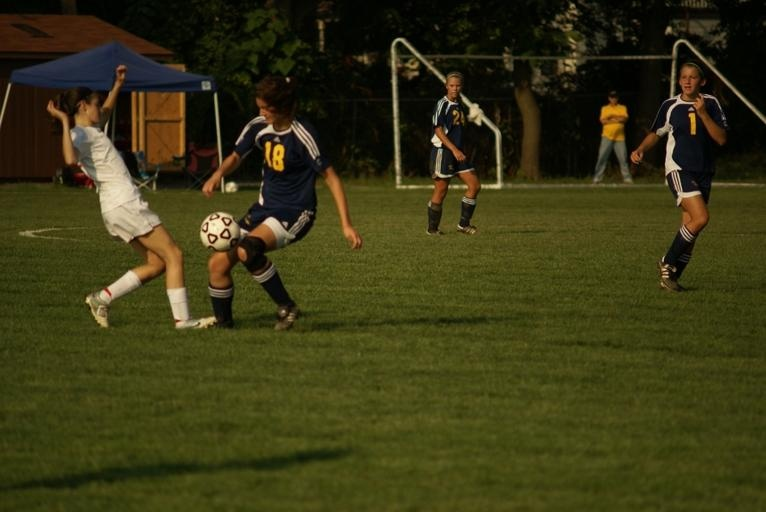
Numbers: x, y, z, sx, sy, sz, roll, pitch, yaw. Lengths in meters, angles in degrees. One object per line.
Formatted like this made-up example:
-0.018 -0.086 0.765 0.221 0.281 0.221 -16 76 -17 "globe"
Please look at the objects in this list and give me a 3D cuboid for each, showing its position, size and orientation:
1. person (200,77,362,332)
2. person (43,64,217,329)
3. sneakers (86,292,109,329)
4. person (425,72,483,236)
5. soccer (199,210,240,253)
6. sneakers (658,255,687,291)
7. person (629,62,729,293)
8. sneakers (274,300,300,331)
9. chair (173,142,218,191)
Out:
-0.957 -0.474 10.297 1.265 2.282 0.509 3 8 4 "person"
-2.386 -0.533 10.280 1.144 2.349 1.207 -4 11 -41 "person"
-2.636 0.504 10.308 0.168 0.291 0.107 -15 17 12 "sneakers"
1.027 -1.424 15.764 0.713 2.245 1.309 3 8 3 "person"
-1.527 -0.232 10.341 0.357 0.340 0.345 -40 14 -21 "soccer"
3.092 0.193 11.979 0.175 0.185 0.419 -2 45 -14 "sneakers"
3.296 -0.869 12.132 0.836 2.361 0.954 4 8 7 "person"
-0.920 0.550 10.418 0.129 0.144 0.340 -6 28 25 "sneakers"
-3.757 -1.814 22.933 1.049 1.164 0.900 1 7 1 "chair"
